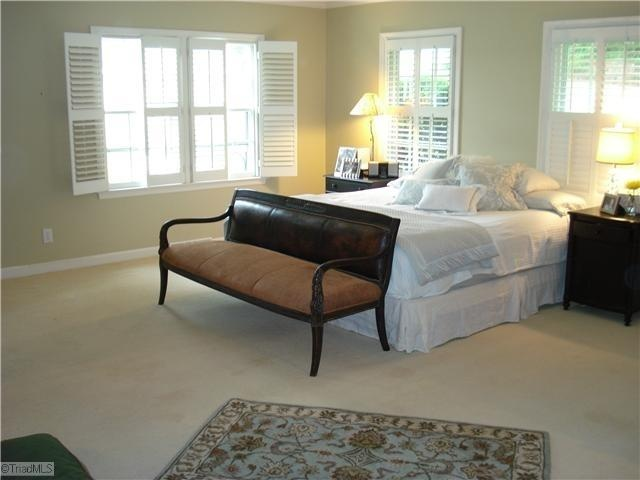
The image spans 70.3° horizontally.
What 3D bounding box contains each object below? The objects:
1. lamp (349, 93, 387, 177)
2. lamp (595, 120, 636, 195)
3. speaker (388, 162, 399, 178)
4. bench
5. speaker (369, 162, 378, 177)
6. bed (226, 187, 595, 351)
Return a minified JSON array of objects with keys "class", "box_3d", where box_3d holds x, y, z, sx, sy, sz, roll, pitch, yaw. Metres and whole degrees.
[{"class":"lamp","box_3d":[0.648,-1.472,6.238,0.428,1.080,0.677,0,14,4]},{"class":"lamp","box_3d":[2.776,-0.769,4.254,0.314,0.676,0.414,8,16,31]},{"class":"speaker","box_3d":[0.974,-0.955,6.064,0.225,0.221,0.165,3,14,12]},{"class":"bench","box_3d":[-0.477,0.208,3.863,0.923,0.985,2.194,-13,19,-42]},{"class":"speaker","box_3d":[0.703,-0.941,6.026,0.169,0.164,0.122,4,5,26]},{"class":"bed","box_3d":[1.174,0.297,3.920,1.601,0.606,1.552,-6,12,-35]}]
